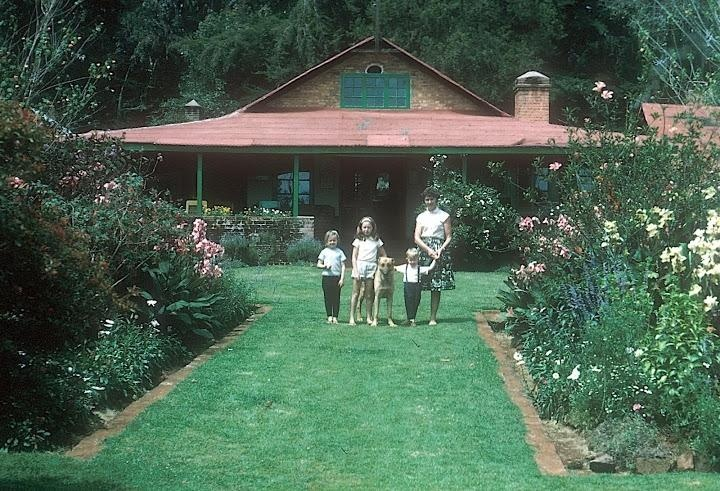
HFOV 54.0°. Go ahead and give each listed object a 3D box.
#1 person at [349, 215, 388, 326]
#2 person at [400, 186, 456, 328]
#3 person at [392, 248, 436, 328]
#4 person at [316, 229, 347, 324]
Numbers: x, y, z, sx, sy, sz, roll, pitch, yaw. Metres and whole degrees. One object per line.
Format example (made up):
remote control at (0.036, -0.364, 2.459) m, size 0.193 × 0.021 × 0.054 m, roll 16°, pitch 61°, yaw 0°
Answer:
person at (0.115, 0.384, 11.009) m, size 0.721 × 1.664 × 0.622 m, roll 2°, pitch 1°, yaw 40°
person at (1.162, 0.205, 11.015) m, size 0.611 × 2.135 × 0.579 m, roll 2°, pitch 12°, yaw 4°
person at (0.905, 0.733, 11.403) m, size 1.092 × 1.392 × 0.444 m, roll 0°, pitch 7°, yaw 2°
person at (-0.442, 0.505, 11.269) m, size 0.402 × 1.524 × 0.742 m, roll 0°, pitch 12°, yaw -3°
